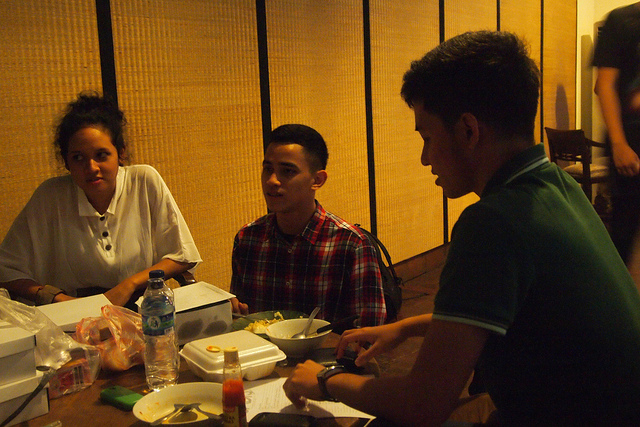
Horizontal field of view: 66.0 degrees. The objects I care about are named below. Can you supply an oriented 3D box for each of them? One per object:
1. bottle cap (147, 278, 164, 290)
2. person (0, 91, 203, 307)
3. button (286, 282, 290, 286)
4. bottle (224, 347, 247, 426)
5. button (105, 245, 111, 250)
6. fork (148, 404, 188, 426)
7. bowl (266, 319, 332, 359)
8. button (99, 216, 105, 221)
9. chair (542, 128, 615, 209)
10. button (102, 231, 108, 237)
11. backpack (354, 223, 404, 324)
[{"bbox_3d":[-0.620,0.266,1.848,0.045,0.033,0.045,-1,1,3],"label":"bottle cap"},{"bbox_3d":[-1.297,-0.081,2.804,1.083,1.016,0.687,-10,25,-20],"label":"person"},{"bbox_3d":[-0.172,0.380,2.615,0.018,0.017,0.004,2,9,26],"label":"button"},{"bbox_3d":[-0.268,0.539,1.510,0.066,0.246,0.040,-4,9,-13],"label":"bottle"},{"bbox_3d":[-1.203,0.196,2.788,0.028,0.028,0.007,-3,-8,-18],"label":"button"},{"bbox_3d":[-0.499,0.652,1.599,0.032,0.013,0.089,3,24,37],"label":"fork"},{"bbox_3d":[-0.096,0.505,1.959,0.252,0.098,0.251,0,4,0],"label":"bowl"},{"bbox_3d":[-1.231,0.032,2.777,0.025,0.025,0.006,0,-2,-15],"label":"button"},{"bbox_3d":[3.209,-0.445,6.007,0.839,1.028,0.841,-1,7,17],"label":"chair"},{"bbox_3d":[-1.218,0.121,2.788,0.034,0.033,0.008,-3,1,-17],"label":"button"},{"bbox_3d":[0.365,0.377,2.990,0.250,0.693,0.859,-1,8,9],"label":"backpack"}]
